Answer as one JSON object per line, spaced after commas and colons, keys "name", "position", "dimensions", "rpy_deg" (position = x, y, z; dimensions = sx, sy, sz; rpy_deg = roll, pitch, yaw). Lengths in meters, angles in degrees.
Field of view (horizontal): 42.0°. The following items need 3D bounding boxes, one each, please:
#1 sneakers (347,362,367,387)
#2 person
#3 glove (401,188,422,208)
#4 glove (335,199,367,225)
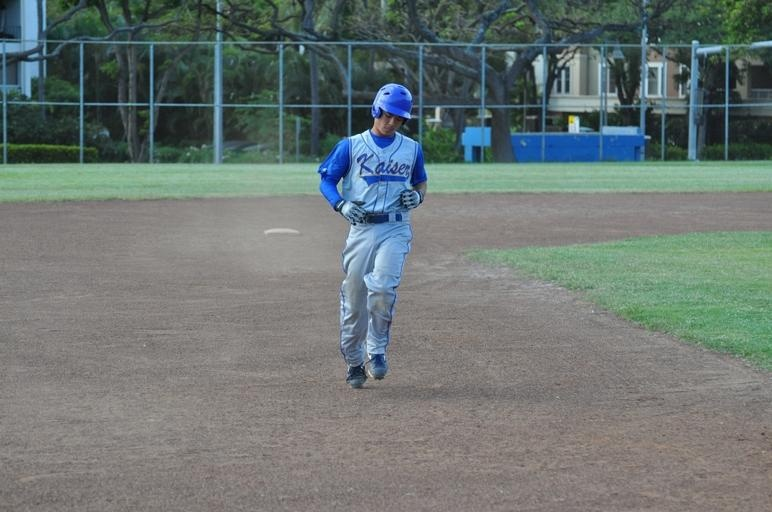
{"name": "sneakers", "position": [-0.265, 1.069, 8.830], "dimensions": [0.122, 0.159, 0.235], "rpy_deg": [0, -9, -2]}
{"name": "person", "position": [-0.127, -0.163, 8.852], "dimensions": [0.920, 2.649, 0.439], "rpy_deg": [0, 5, 0]}
{"name": "glove", "position": [0.214, -0.506, 8.764], "dimensions": [0.081, 0.133, 0.184], "rpy_deg": [-9, 16, -41]}
{"name": "glove", "position": [-0.298, -0.374, 8.678], "dimensions": [0.231, 0.206, 0.130], "rpy_deg": [-4, 6, -34]}
